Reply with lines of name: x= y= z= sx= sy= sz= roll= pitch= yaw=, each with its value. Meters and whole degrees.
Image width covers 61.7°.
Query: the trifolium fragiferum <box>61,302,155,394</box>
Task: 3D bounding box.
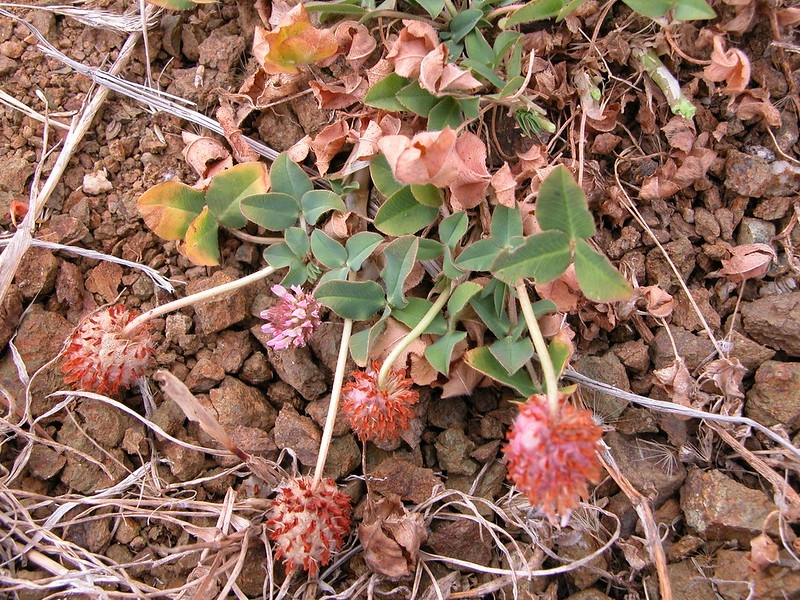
trifolium fragiferum: x=-0.821 y=0.159 z=1.910 sx=0.227 sy=0.222 sz=0.189 roll=-7 pitch=55 yaw=-11

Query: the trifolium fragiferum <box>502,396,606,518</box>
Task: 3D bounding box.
trifolium fragiferum: x=0.359 y=0.350 z=1.579 sx=0.196 sy=0.195 sz=0.277 roll=2 pitch=80 yaw=-1

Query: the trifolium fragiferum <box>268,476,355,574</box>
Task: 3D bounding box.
trifolium fragiferum: x=-0.235 y=0.575 z=1.805 sx=0.172 sy=0.166 sz=0.182 roll=10 pitch=82 yaw=-25

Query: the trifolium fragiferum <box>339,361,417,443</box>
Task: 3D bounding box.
trifolium fragiferum: x=-0.058 y=0.260 z=1.795 sx=0.203 sy=0.201 sz=0.193 roll=8 pitch=91 yaw=33
